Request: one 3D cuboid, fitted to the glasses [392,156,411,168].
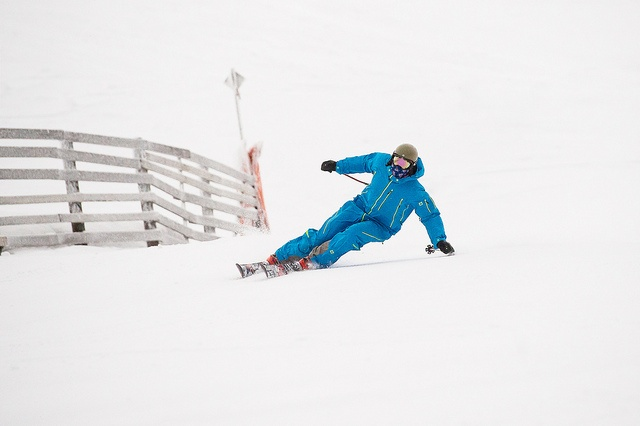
[{"bbox_3d":[1.152,-0.724,8.429,0.199,0.076,0.158,38,-12,-31],"label":"glasses"}]

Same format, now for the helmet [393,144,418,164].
[{"bbox_3d":[1.241,-0.835,8.508,0.251,0.251,0.301,23,-10,25],"label":"helmet"}]

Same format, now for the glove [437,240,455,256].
[{"bbox_3d":[1.793,0.488,8.493,0.163,0.230,0.073,-33,2,3],"label":"glove"}]
